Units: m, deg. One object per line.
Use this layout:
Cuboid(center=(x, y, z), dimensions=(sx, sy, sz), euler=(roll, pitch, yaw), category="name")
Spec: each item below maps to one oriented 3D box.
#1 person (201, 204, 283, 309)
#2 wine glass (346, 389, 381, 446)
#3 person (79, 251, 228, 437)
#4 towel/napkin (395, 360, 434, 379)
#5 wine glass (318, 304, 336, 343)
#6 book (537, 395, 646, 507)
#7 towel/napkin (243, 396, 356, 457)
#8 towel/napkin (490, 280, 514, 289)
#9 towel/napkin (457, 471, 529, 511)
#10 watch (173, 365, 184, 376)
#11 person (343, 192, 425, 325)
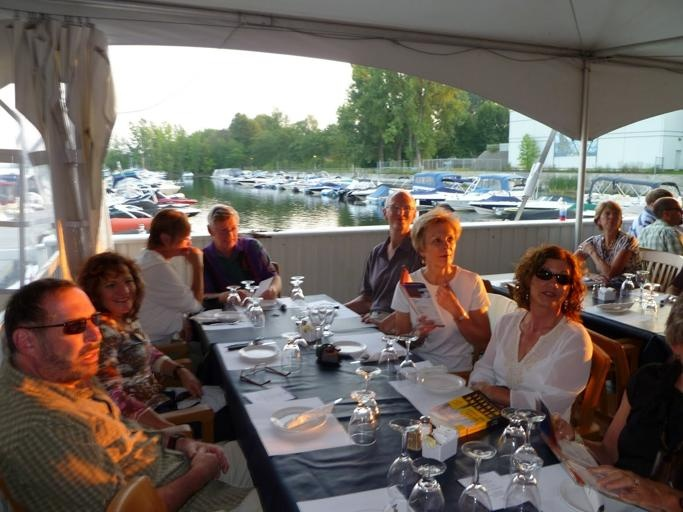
Cuboid(center=(-1.001, 0.016, 4.814), dimensions=(0.825, 0.909, 0.745), euler=(8, 23, 15), category="person")
Cuboid(center=(0.096, 0.712, 2.274), dimensions=(0.135, 0.252, 0.137), euler=(-1, 9, 0), category="wine glass")
Cuboid(center=(-1.188, 0.637, 3.207), dimensions=(0.909, 1.287, 0.595), euler=(-1, 5, -16), category="person")
Cuboid(center=(0.427, 0.659, 2.873), dimensions=(0.135, 0.042, 0.104), euler=(-10, 12, -22), category="towel/napkin")
Cuboid(center=(-0.107, 0.490, 3.628), dimensions=(0.122, 0.067, 0.248), euler=(6, 18, -3), category="wine glass")
Cuboid(center=(0.912, 0.782, 1.988), dimensions=(0.286, 0.113, 0.382), euler=(6, 20, -40), category="book")
Cuboid(center=(-0.197, 0.810, 2.384), dimensions=(0.272, 0.006, 0.406), euler=(-4, 10, -18), category="towel/napkin")
Cuboid(center=(1.625, 0.285, 5.136), dimensions=(0.199, 0.046, 0.184), euler=(-2, 8, -9), category="towel/napkin")
Cuboid(center=(0.565, 0.879, 1.894), dimensions=(0.161, 0.009, 0.181), euler=(-3, 13, 2), category="towel/napkin")
Cuboid(center=(-1.086, 0.757, 3.384), dimensions=(0.049, 0.068, 0.062), euler=(3, 19, -19), category="watch")
Cuboid(center=(0.396, 0.022, 4.535), dimensions=(0.869, 1.246, 0.953), euler=(1, -2, 18), category="person")
